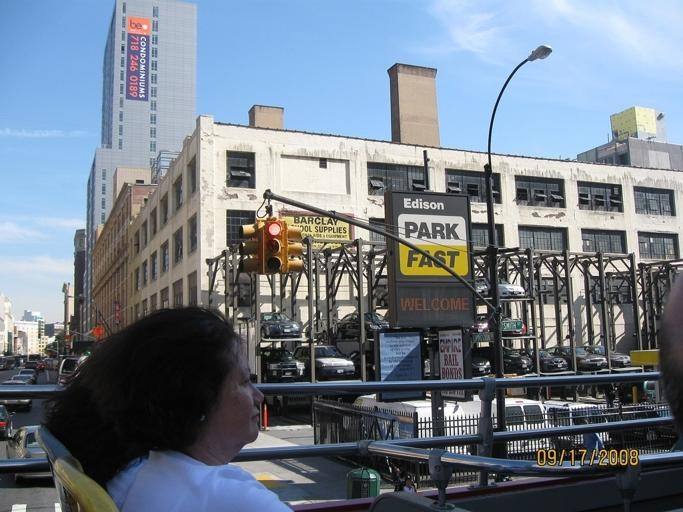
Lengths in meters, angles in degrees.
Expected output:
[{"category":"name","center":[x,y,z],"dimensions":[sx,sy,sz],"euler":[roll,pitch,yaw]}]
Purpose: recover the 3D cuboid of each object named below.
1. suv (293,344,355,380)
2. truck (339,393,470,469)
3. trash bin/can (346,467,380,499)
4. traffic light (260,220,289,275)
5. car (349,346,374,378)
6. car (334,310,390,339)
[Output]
[{"category":"suv","center":[-0.707,4.383,30.872],"dimensions":[1.316,1.069,2.315],"euler":[4,-14,-23]},{"category":"truck","center":[1.997,3.609,16.661],"dimensions":[2.031,1.620,3.195],"euler":[5,-8,-29]},{"category":"trash bin/can","center":[0.287,2.932,9.694],"dimensions":[0.388,0.390,0.664],"euler":[0,-8,-2]},{"category":"traffic light","center":[-1.263,-0.208,14.454],"dimensions":[0.567,1.069,0.439],"euler":[3,-9,-22]},{"category":"car","center":[0.969,4.802,33.180],"dimensions":[1.073,1.019,2.010],"euler":[0,0,-9]},{"category":"car","center":[0.700,3.079,34.183],"dimensions":[1.198,0.982,2.803],"euler":[6,-19,-30]}]
